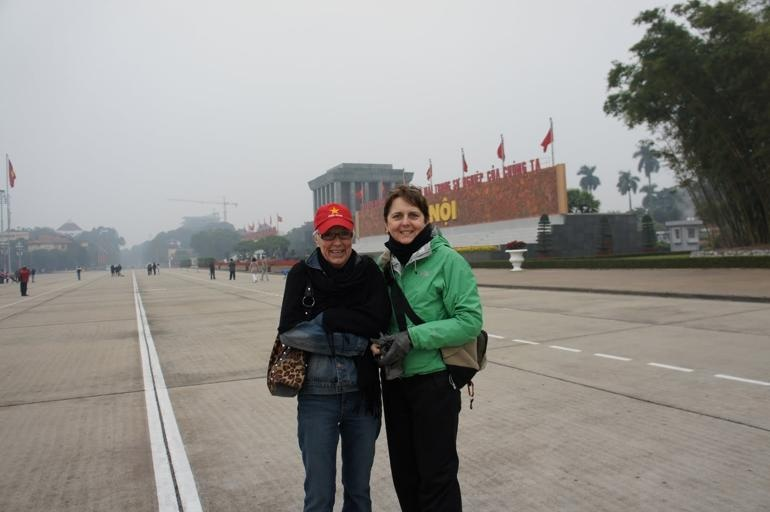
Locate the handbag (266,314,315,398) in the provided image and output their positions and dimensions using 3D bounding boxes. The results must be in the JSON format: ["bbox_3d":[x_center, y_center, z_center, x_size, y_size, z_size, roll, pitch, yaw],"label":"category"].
[{"bbox_3d":[-0.877,0.979,5.028,0.362,0.550,0.245,0,9,11],"label":"handbag"}]

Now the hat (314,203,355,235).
[{"bbox_3d":[-0.484,-0.367,5.280,0.361,0.281,0.535,-2,3,-3],"label":"hat"}]

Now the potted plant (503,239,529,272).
[{"bbox_3d":[7.357,-0.012,31.723,1.524,1.904,1.656,-1,-6,-2],"label":"potted plant"}]

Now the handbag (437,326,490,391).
[{"bbox_3d":[0.723,0.925,5.034,0.439,0.467,0.148,-7,10,-27],"label":"handbag"}]
